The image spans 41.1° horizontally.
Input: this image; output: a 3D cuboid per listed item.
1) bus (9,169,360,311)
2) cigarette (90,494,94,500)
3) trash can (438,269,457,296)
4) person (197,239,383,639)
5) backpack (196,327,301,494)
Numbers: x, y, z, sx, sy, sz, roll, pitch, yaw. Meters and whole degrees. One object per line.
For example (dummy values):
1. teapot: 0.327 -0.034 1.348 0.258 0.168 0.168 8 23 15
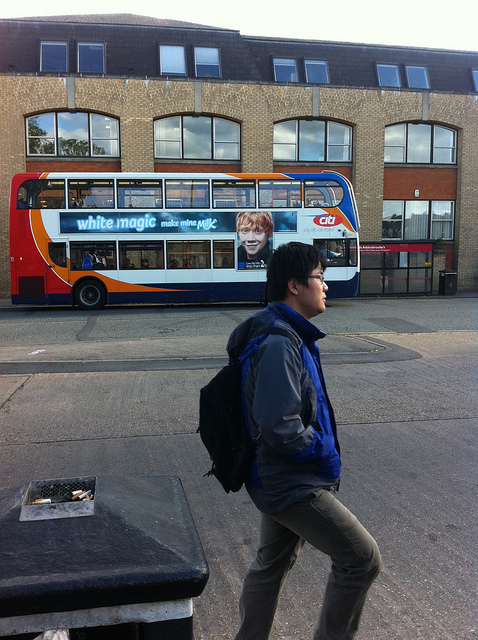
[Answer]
1. bus: -2.408 -2.871 21.012 11.334 4.750 4.322 -1 8 -7
2. cigarette: -0.433 0.509 1.876 0.006 0.011 0.006 0 -8 4
3. trash can: 8.372 -1.535 25.686 0.654 0.934 0.883 3 8 18
4. person: 0.196 0.548 2.439 0.701 1.668 0.640 0 8 -4
5. backpack: 0.042 0.315 2.500 0.391 0.601 0.379 1 10 -21
